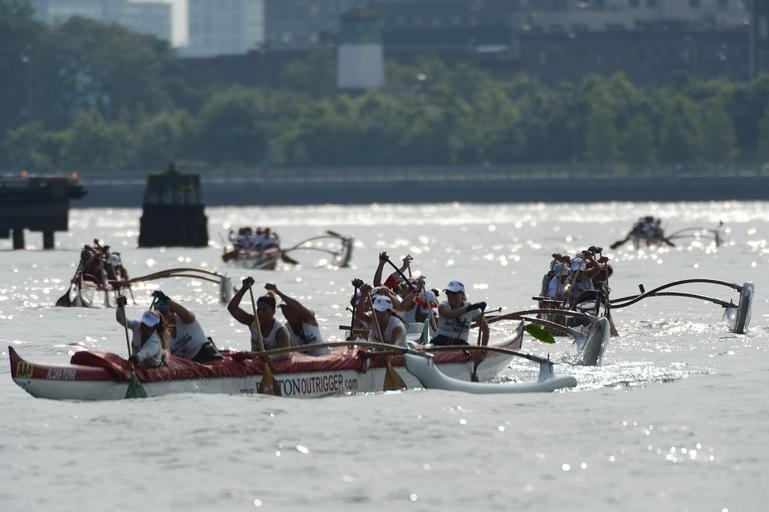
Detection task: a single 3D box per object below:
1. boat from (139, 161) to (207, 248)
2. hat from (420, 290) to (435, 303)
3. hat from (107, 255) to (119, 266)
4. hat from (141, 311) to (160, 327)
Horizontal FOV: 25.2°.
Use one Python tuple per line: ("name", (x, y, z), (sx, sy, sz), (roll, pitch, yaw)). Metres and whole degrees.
("boat", (-13.197, -2.860, 113.130), (5.794, 6.139, 5.366), (1, 0, -14))
("hat", (2.293, 2.163, 87.249), (0.741, 0.539, 0.504), (21, 11, 5))
("hat", (-14.545, 0.375, 93.054), (0.593, 0.474, 0.546), (-2, 3, -15))
("hat", (-11.271, 3.197, 83.413), (0.941, 0.791, 0.240), (1, 6, -4))
